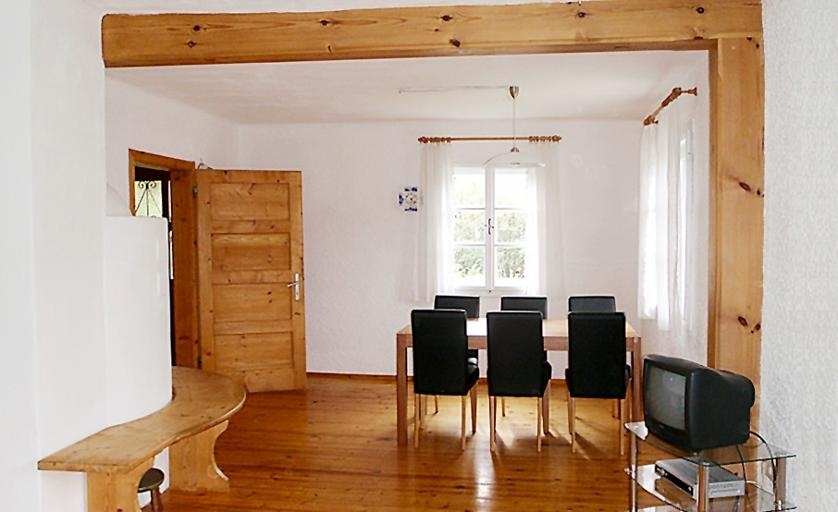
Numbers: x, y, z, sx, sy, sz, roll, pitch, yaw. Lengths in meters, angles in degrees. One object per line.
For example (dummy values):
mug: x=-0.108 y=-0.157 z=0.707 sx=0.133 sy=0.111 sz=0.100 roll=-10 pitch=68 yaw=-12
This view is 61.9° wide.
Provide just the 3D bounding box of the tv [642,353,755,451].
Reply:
tv: x=1.630 y=0.868 z=4.290 sx=0.596 sy=0.469 sz=0.544 roll=-2 pitch=1 yaw=-20

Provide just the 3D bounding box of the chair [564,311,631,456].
chair: x=1.519 y=1.005 z=5.933 sx=0.536 sy=1.159 sz=0.612 roll=2 pitch=12 yaw=15

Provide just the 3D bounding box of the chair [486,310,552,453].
chair: x=0.855 y=1.006 z=6.024 sx=0.552 sy=1.162 sz=0.623 roll=1 pitch=11 yaw=7

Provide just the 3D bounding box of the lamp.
lamp: x=0.819 y=-1.166 z=6.454 sx=0.739 sy=0.717 sz=0.744 roll=-1 pitch=3 yaw=-10

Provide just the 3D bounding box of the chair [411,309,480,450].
chair: x=0.232 y=1.001 z=6.144 sx=0.561 sy=1.188 sz=0.749 roll=0 pitch=11 yaw=4
